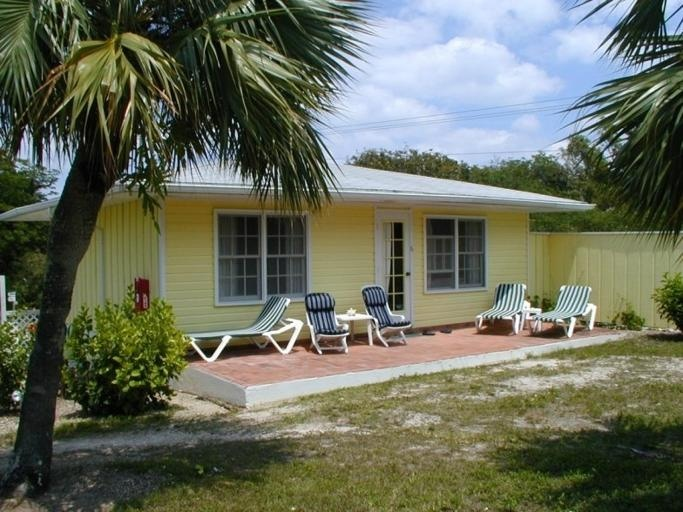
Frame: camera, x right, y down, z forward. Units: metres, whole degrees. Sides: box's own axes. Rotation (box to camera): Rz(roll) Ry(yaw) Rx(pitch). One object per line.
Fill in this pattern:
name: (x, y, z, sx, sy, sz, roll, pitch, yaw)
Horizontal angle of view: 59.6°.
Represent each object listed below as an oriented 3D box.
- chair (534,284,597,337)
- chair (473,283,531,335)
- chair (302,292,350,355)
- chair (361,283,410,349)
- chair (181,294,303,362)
chair: (4.940, 1.216, 13.282, 1.541, 1.058, 0.836, -3, 2, -39)
chair: (3.741, 1.202, 13.764, 0.825, 1.018, 1.497, 1, 4, 32)
chair: (-0.279, 1.255, 11.261, 0.672, 1.154, 1.040, -1, -3, -21)
chair: (0.859, 1.190, 12.000, 0.656, 1.161, 1.086, -1, 2, -32)
chair: (-1.749, 1.300, 10.912, 1.897, 0.955, 1.045, 3, -3, -29)
